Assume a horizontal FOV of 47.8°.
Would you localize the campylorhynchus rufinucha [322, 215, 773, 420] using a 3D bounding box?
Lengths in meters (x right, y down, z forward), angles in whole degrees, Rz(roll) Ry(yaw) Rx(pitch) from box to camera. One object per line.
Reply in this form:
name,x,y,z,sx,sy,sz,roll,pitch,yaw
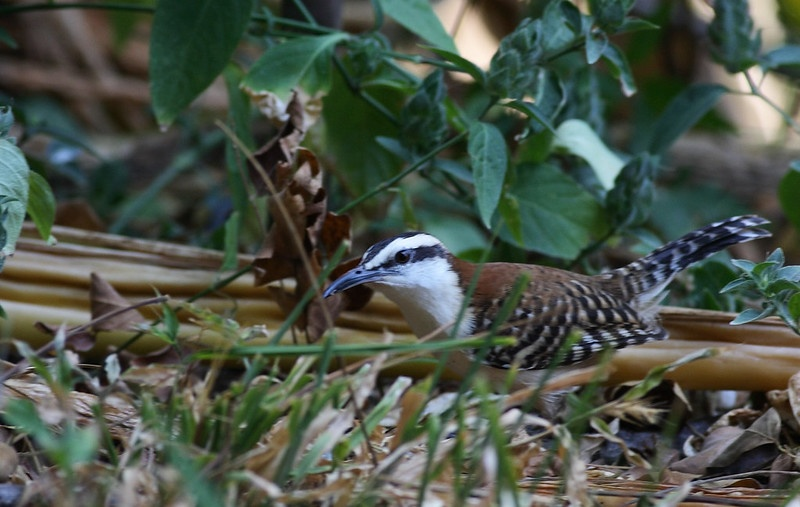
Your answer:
campylorhynchus rufinucha,0.417,0.123,2.646,1.225,0.631,0.478,10,21,-3
